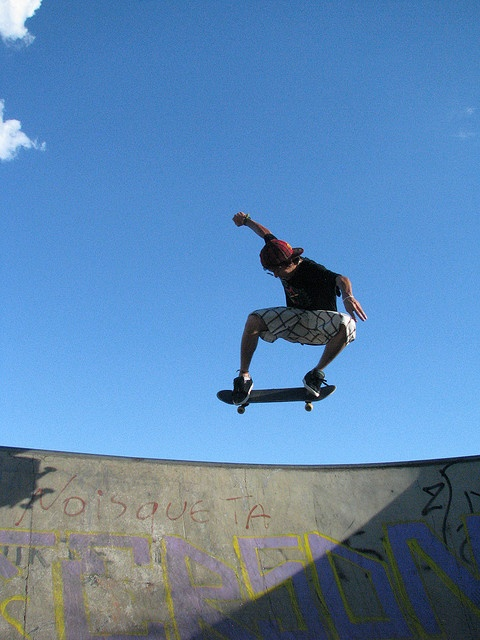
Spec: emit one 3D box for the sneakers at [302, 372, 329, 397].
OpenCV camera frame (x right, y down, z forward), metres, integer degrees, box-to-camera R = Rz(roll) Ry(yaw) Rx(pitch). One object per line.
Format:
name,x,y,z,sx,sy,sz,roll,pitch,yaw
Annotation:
sneakers,0.853,0.694,7.071,0.219,0.292,0.303,-7,-15,-4
